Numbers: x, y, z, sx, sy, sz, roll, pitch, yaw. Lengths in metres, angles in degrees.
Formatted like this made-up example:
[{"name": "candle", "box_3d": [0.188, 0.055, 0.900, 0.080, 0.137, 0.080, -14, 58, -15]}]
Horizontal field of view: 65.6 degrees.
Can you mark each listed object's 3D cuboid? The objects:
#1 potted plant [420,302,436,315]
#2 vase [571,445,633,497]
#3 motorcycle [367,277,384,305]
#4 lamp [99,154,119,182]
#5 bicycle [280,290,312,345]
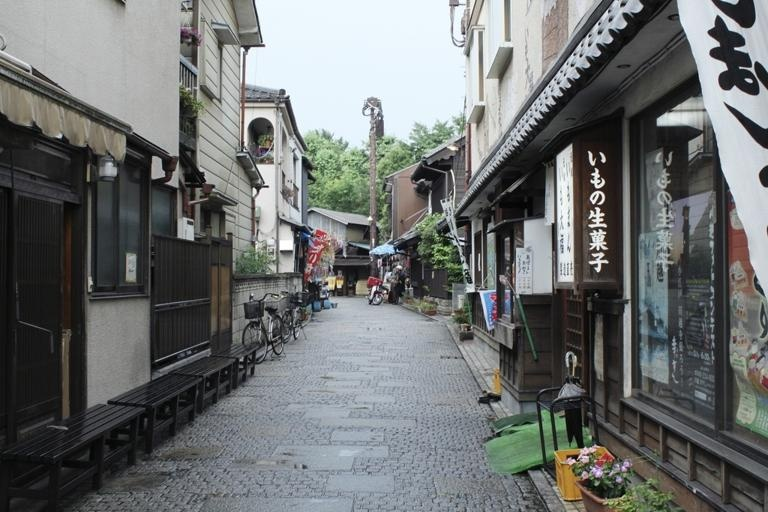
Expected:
[{"name": "potted plant", "box_3d": [2.158, 2.473, 28.102, 0.653, 0.482, 1.455, 0, 1, -1]}, {"name": "vase", "box_3d": [2.332, 2.305, 6.355, 0.536, 0.428, 0.629, -3, -10, 26]}, {"name": "motorcycle", "box_3d": [-0.521, 2.255, 38.688, 0.968, 1.466, 3.613, 0, 1, -1]}, {"name": "lamp", "box_3d": [-3.841, -1.222, 8.274, 0.249, 0.325, 0.220, -1, 2, -6]}, {"name": "bicycle", "box_3d": [-2.954, 1.857, 18.769, 0.739, 1.186, 1.843, -1, -5, 4]}]
